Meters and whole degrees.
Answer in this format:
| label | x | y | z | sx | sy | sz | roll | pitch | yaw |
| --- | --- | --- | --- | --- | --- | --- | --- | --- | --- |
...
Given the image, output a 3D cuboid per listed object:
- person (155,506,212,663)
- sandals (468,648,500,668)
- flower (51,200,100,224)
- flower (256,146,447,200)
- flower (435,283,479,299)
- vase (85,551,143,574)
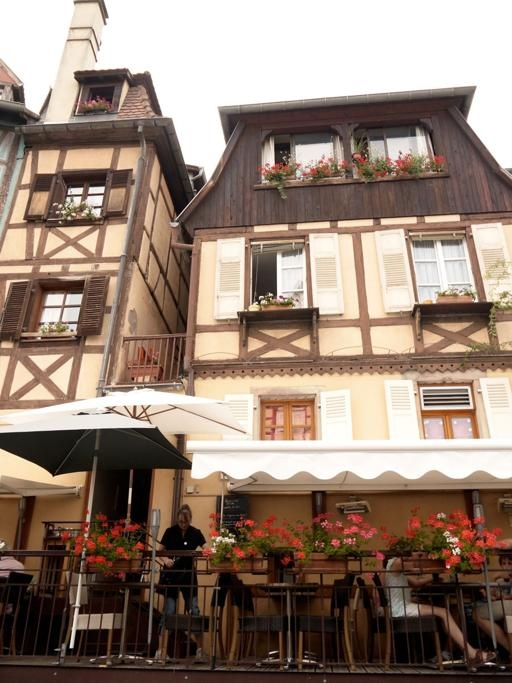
| label | x | y | z | sx | sy | sz | roll | pitch | yaw |
| --- | --- | --- | --- | --- | --- | --- | --- | --- | --- |
| person | -0.776 | 2.653 | 5.630 | 0.746 | 1.532 | 0.708 | -9 | -28 | 15 |
| sandals | 1.894 | 2.638 | 4.196 | 0.202 | 0.123 | 0.529 | -10 | -31 | 17 |
| flower | -3.828 | -2.736 | 10.713 | 0.644 | 0.268 | 0.632 | 12 | -29 | -21 |
| flower | 2.040 | -3.376 | 10.136 | 3.295 | 1.004 | 0.752 | -5 | -26 | 1 |
| flower | 3.645 | -0.924 | 9.005 | 0.440 | 0.130 | 0.431 | -12 | 16 | -27 |
| vase | -1.378 | 2.099 | 4.802 | 0.549 | 0.176 | 0.415 | 4 | -30 | -6 |
